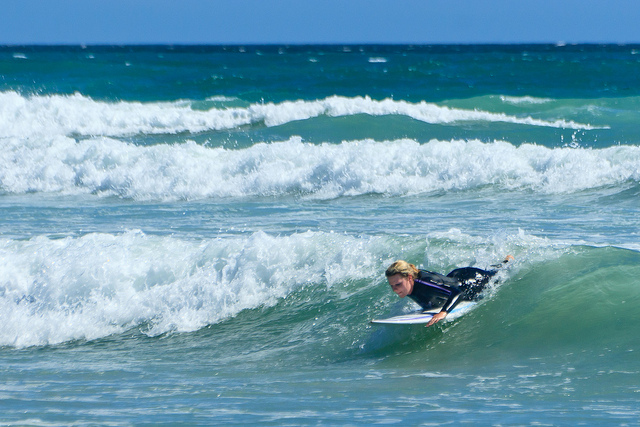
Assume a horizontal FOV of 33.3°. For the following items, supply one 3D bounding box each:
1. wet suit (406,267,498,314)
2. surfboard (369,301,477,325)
[{"bbox_3d":[2.849,1.526,23.150,1.540,0.559,0.895,-25,14,-31],"label":"wet suit"},{"bbox_3d":[2.492,2.223,23.571,0.698,0.379,3.642,4,4,42],"label":"surfboard"}]
